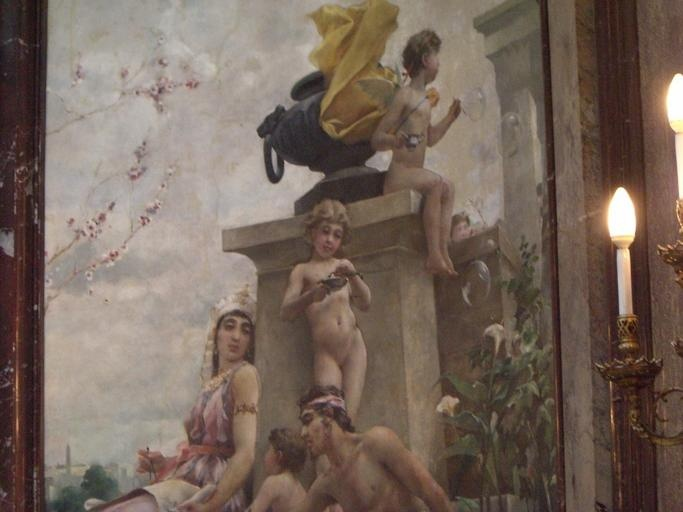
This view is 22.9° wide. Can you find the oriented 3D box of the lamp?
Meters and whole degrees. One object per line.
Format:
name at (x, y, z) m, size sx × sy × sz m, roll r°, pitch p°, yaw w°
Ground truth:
lamp at (1.315, 0.058, 7.294) m, size 0.451 × 1.571 × 0.722 m, roll -5°, pitch -19°, yaw 11°
